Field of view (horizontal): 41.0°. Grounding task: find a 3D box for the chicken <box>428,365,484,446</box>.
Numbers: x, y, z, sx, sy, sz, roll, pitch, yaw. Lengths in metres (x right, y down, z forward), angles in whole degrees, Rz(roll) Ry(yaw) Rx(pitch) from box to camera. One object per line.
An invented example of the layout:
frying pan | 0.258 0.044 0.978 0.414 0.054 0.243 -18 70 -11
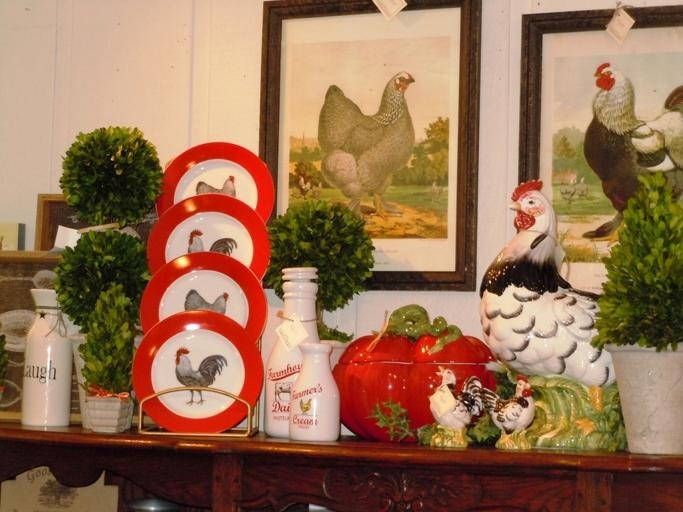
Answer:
chicken | 0.283 0.376 2.238 0.137 0.186 0.097 21 -12 -38

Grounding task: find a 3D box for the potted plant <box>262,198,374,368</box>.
potted plant | -0.092 0.045 2.568 0.324 0.421 0.322 -8 -6 -14

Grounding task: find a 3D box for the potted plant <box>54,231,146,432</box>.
potted plant | -0.630 0.196 2.428 0.223 0.526 0.145 -1 -2 21

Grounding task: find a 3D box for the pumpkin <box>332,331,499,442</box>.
pumpkin | 0.114 0.353 2.470 0.342 0.234 0.349 6 -9 -33

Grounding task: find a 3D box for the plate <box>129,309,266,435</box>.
plate | -0.367 0.298 2.341 0.331 0.312 0.108 0 -2 -9

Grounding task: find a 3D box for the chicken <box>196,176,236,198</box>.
chicken | -0.343 -0.194 2.529 0.091 0.091 0.052 3 2 5

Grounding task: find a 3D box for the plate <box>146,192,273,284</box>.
plate | -0.339 -0.039 2.473 0.307 0.040 0.325 30 45 6

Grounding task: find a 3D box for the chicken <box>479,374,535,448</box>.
chicken | 0.396 0.374 2.212 0.140 0.171 0.097 -3 1 26

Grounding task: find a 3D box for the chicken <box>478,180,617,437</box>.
chicken | 0.571 0.108 2.319 0.382 0.596 0.282 -3 11 -5
